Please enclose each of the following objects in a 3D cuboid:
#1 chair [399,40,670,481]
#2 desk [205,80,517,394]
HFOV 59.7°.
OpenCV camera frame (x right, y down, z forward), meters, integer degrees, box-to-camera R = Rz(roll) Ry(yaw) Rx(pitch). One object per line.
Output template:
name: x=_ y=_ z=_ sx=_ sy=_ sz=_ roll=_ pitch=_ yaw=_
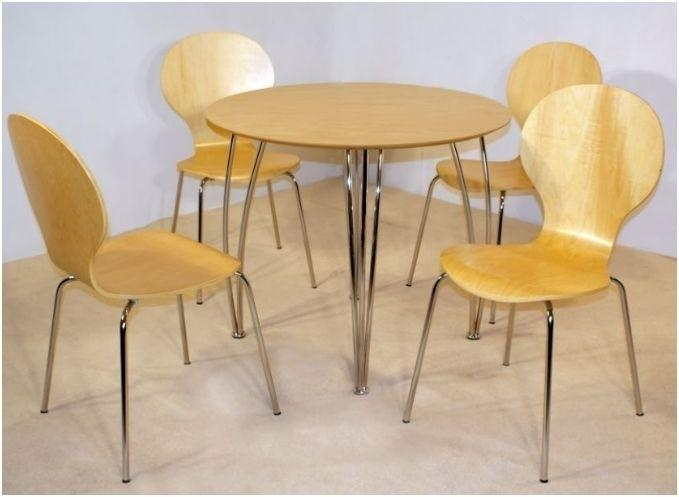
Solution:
chair: x=0.802 y=-0.189 z=2.495 sx=1.056 sy=1.191 sz=1.993 roll=0 pitch=24 yaw=6
desk: x=0.106 y=-0.020 z=2.428 sx=1.169 sy=0.793 sz=1.054 roll=0 pitch=5 yaw=-15
